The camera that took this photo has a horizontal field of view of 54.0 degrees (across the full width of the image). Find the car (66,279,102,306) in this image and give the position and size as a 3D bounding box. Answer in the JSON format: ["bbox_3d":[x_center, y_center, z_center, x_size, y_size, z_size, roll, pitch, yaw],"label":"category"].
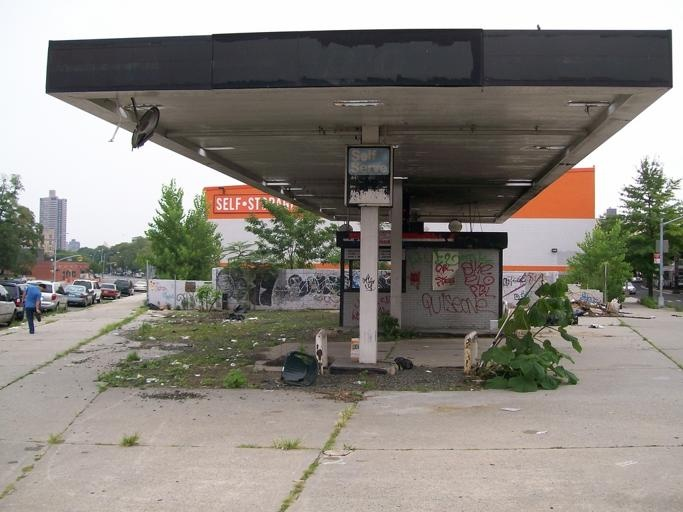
[{"bbox_3d":[-17.143,2.426,45.153,1.661,1.654,3.202,0,2,-1],"label":"car"}]

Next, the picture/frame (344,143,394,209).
[{"bbox_3d":[0.617,-1.782,14.809,1.046,1.374,0.330,-1,-1,-2],"label":"picture/frame"}]
